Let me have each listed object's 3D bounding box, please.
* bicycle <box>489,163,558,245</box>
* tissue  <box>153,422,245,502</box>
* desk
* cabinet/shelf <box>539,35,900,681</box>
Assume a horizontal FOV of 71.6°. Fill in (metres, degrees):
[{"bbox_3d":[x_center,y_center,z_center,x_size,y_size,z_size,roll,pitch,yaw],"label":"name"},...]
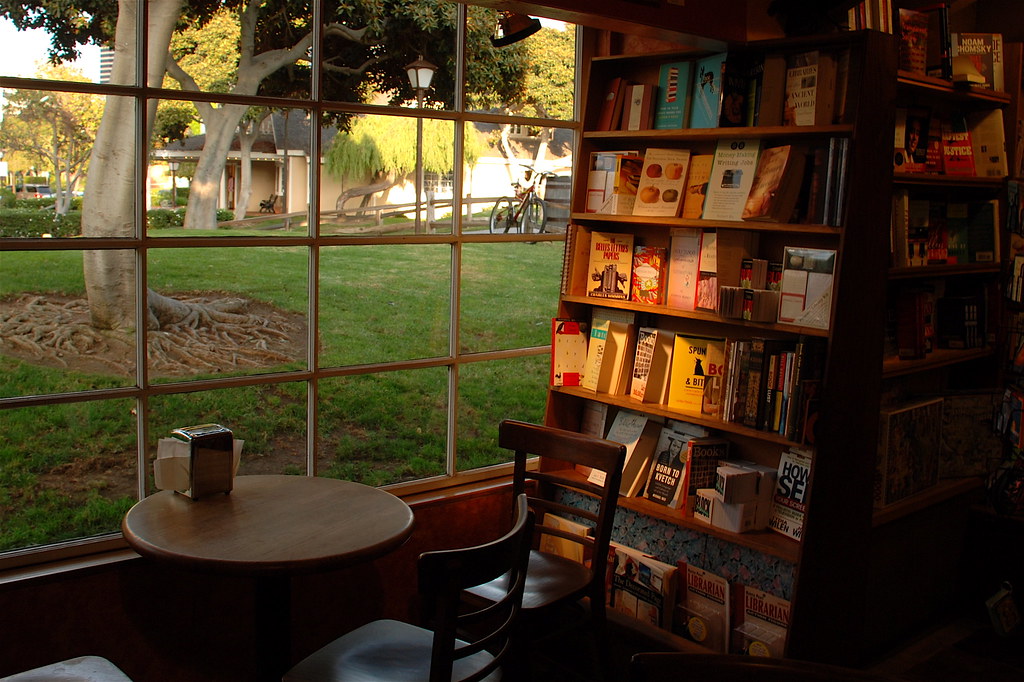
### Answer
[{"bbox_3d":[0.025,-0.691,3.679,0.233,0.326,0.517,23,16,27],"label":"bicycle"},{"bbox_3d":[-1.183,0.457,2.649,0.176,0.234,0.308,0,-2,29],"label":"tissue "},{"bbox_3d":[-0.856,0.647,2.452,0.787,0.531,0.767,1,14,-10],"label":"desk"},{"bbox_3d":[0.976,0.003,3.306,1.417,2.680,0.487,9,11,36],"label":"cabinet/shelf"}]
